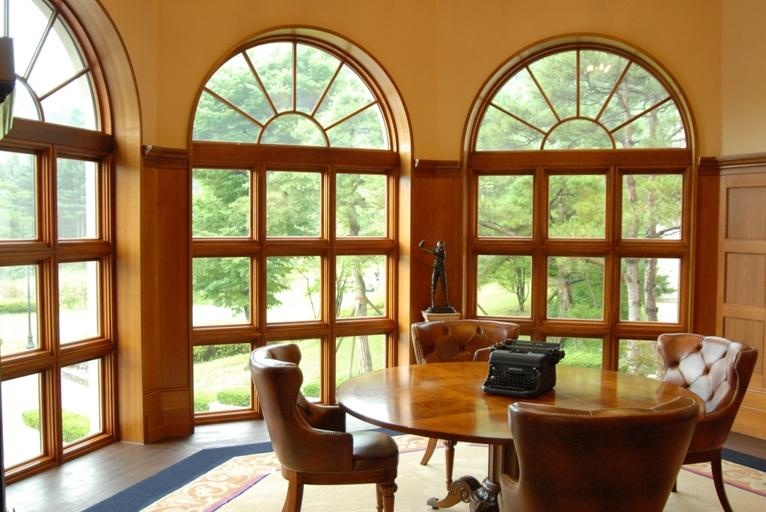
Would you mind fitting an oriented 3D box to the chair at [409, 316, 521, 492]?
[{"bbox_3d":[0.591,1.260,5.437,1.423,1.634,1.201,1,-7,-4],"label":"chair"}]

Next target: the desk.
[{"bbox_3d":[0.779,1.219,3.967,1.556,0.579,1.513,-2,6,-13],"label":"desk"}]

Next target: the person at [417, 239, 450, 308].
[{"bbox_3d":[0.555,0.196,6.099,0.371,0.739,0.431,1,12,2],"label":"person"}]
